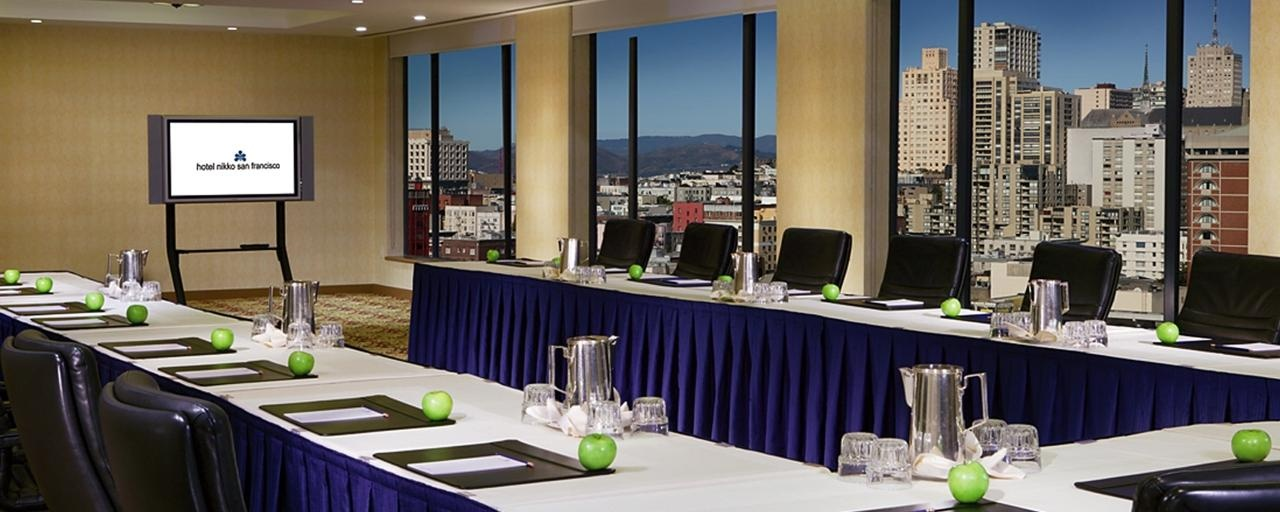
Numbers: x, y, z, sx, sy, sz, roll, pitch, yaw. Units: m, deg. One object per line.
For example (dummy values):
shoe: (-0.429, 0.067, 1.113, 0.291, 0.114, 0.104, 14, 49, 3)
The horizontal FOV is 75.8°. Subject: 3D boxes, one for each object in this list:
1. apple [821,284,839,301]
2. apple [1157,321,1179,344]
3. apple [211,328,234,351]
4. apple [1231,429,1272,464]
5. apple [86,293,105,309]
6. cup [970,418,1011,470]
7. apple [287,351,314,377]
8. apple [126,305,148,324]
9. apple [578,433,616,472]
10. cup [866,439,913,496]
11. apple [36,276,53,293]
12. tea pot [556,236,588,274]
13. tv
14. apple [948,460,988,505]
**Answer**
apple: (1.859, 0.345, 7.963, 0.183, 0.130, 0.160, -7, 10, 0)
apple: (4.299, 0.627, 6.785, 0.200, 0.158, 0.195, 8, -1, -41)
apple: (-3.351, 0.662, 6.627, 0.199, 0.147, 0.197, 3, 3, 40)
apple: (3.792, 1.190, 5.111, 0.249, 0.174, 0.215, 2, 2, 1)
apple: (-5.053, 0.402, 7.626, 0.176, 0.134, 0.170, -8, 11, -39)
cup: (2.158, 1.153, 5.087, 0.293, 0.301, 0.253, -1, 1, -1)
apple: (-2.535, 0.799, 6.202, 0.225, 0.163, 0.194, 3, 8, 1)
apple: (-4.433, 0.509, 7.180, 0.203, 0.143, 0.176, -1, -2, 5)
apple: (-0.285, 1.208, 5.126, 0.271, 0.196, 0.235, 1, -1, -16)
cup: (1.507, 1.263, 5.019, 0.331, 0.245, 0.328, 0, 3, 0)
apple: (-6.085, 0.287, 8.410, 0.184, 0.156, 0.189, -9, -10, 41)
tea pot: (-0.798, -0.010, 8.973, 0.486, 0.393, 0.285, 1, -3, -17)
tv: (-6.390, -1.516, 12.634, 1.870, 0.790, 0.116, -1, 5, -22)
apple: (1.910, 1.341, 4.944, 0.288, 0.219, 0.246, -5, -3, -3)
